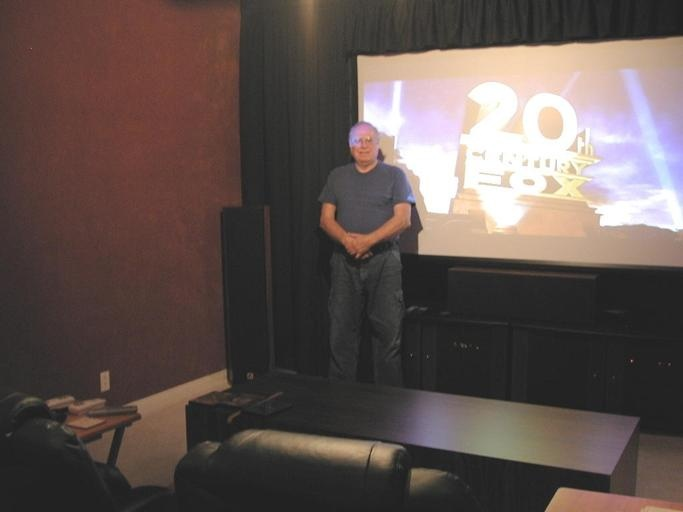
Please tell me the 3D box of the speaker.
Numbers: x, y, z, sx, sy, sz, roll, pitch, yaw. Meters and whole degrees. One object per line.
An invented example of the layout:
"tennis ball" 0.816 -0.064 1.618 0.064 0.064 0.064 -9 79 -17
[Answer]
"speaker" -0.648 0.261 3.918 0.345 1.195 0.180 -2 8 -26

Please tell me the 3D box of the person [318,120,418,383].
"person" 0.150 -0.006 3.865 0.645 1.794 0.429 3 8 11

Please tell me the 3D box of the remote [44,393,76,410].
"remote" -1.552 0.805 3.127 0.129 0.033 0.133 2 4 -1
